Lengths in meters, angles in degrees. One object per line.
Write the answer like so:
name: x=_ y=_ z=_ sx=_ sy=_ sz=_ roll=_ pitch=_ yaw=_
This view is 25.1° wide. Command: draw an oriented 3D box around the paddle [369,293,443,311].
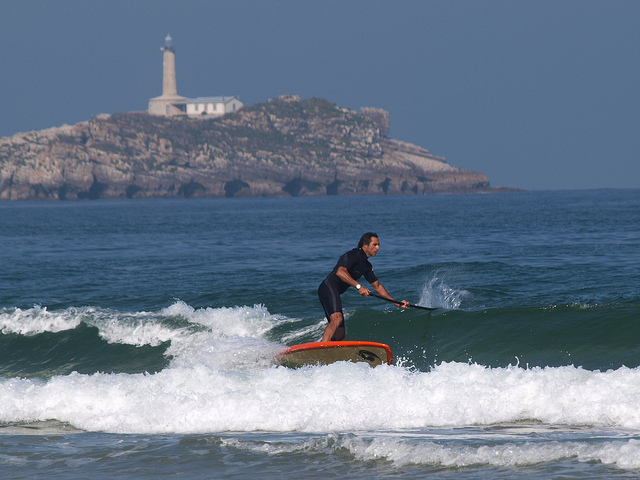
paddle: x=3.373 y=2.430 z=56.147 sx=2.714 sy=0.347 sz=0.245 roll=10 pitch=-8 yaw=13
